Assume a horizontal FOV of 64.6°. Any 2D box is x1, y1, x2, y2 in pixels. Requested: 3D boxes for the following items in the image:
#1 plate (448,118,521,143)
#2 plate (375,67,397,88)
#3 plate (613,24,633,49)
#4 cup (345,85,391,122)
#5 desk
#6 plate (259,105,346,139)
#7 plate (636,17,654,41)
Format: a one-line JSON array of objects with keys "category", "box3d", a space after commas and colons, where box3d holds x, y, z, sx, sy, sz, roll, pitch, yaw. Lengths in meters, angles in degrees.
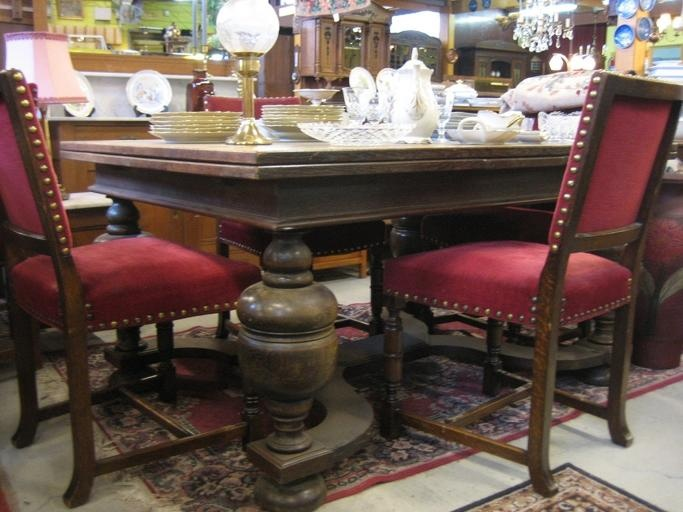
[{"category": "plate", "box3d": [0.492, -0.421, 1.851, 0.175, 0.037, 0.168, -10, 13, -41]}, {"category": "plate", "box3d": [0.191, -0.707, 2.124, 0.117, 0.084, 0.023, 6, -19, 34]}, {"category": "plate", "box3d": [2.384, -1.852, 4.559, 0.054, 0.200, 0.168, -18, 29, -27]}, {"category": "cup", "box3d": [0.092, -0.527, 1.874, 0.185, 0.084, 0.138, 3, 16, 11]}, {"category": "desk", "box3d": [0.331, -0.110, 2.335, 2.434, 0.751, 1.532, -7, 15, -30]}, {"category": "plate", "box3d": [-0.118, -0.464, 1.859, 0.231, 0.066, 0.215, -7, 12, -37]}, {"category": "plate", "box3d": [2.545, -1.909, 4.549, 0.085, 0.187, 0.224, 18, 30, 34]}]
